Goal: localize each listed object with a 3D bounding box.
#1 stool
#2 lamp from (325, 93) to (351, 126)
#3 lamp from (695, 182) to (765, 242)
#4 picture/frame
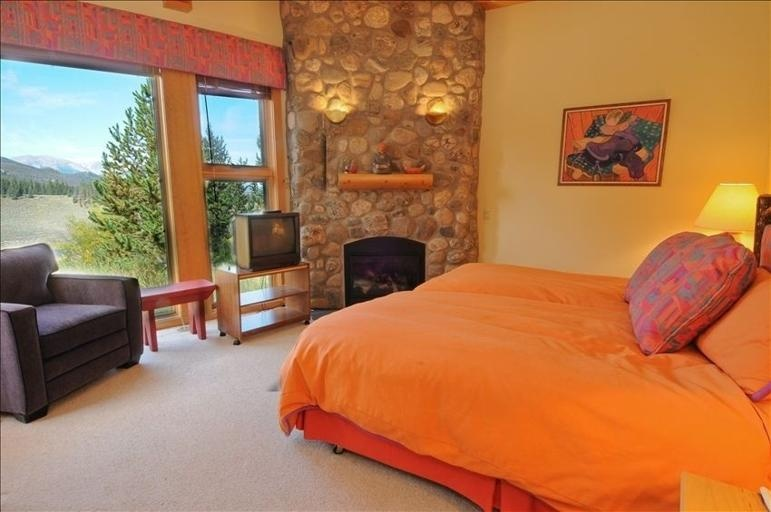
[{"bbox_3d":[-2.005,0.568,4.937,0.253,0.484,0.696,8,9,34],"label":"stool"},{"bbox_3d":[-0.555,-1.601,5.726,0.294,0.220,0.314,3,-10,-24],"label":"lamp"},{"bbox_3d":[3.040,-0.416,4.678,0.541,0.480,0.521,2,11,18],"label":"lamp"},{"bbox_3d":[2.378,-1.186,5.273,1.091,0.841,0.044,2,5,27],"label":"picture/frame"}]
